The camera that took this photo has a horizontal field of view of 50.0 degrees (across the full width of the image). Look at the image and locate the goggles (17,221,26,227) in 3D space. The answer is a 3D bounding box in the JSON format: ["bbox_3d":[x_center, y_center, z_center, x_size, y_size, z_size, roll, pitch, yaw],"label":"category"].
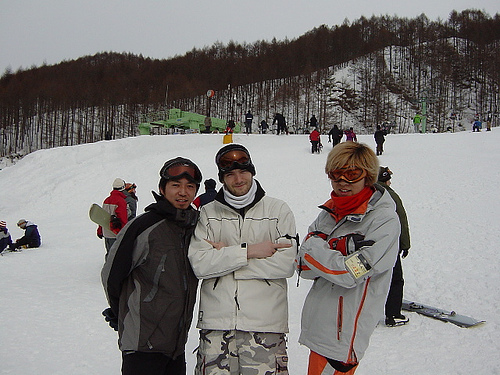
[{"bbox_3d":[-6.024,0.973,14.234,0.405,0.137,0.122,6,9,38],"label":"goggles"}]

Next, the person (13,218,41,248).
[{"bbox_3d":[-5.776,1.205,13.822,0.729,0.841,0.499,-7,6,-31],"label":"person"}]

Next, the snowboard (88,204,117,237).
[{"bbox_3d":[-2.418,0.501,8.811,0.103,0.207,0.653,9,-26,26],"label":"snowboard"}]

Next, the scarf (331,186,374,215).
[{"bbox_3d":[1.489,0.121,8.254,0.633,0.417,0.593,2,-3,13],"label":"scarf"}]

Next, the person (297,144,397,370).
[{"bbox_3d":[1.454,1.024,7.974,1.372,3.299,0.777,1,6,10],"label":"person"}]

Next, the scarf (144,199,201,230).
[{"bbox_3d":[-1.198,0.356,8.501,0.731,0.479,0.913,-14,16,-19],"label":"scarf"}]
